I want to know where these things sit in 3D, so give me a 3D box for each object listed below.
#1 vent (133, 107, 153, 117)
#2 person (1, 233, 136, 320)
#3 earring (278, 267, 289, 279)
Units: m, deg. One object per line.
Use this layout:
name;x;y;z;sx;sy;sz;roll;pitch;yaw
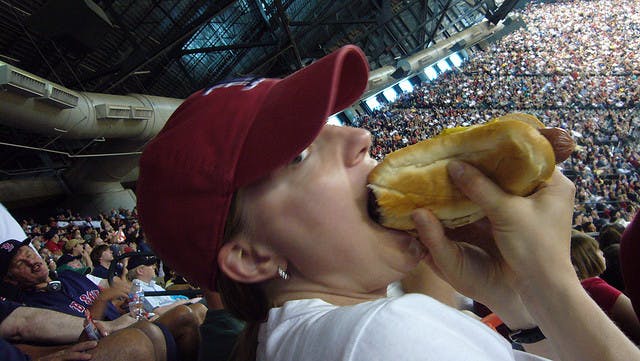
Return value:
vent;-4.780;-1.860;11.468;0.033;0.335;0.636;1;19;27
person;-4.476;1.852;7.570;2.131;0.771;1.310;13;7;5
earring;-0.501;1.261;5.758;0.127;0.183;0.022;-5;17;9
